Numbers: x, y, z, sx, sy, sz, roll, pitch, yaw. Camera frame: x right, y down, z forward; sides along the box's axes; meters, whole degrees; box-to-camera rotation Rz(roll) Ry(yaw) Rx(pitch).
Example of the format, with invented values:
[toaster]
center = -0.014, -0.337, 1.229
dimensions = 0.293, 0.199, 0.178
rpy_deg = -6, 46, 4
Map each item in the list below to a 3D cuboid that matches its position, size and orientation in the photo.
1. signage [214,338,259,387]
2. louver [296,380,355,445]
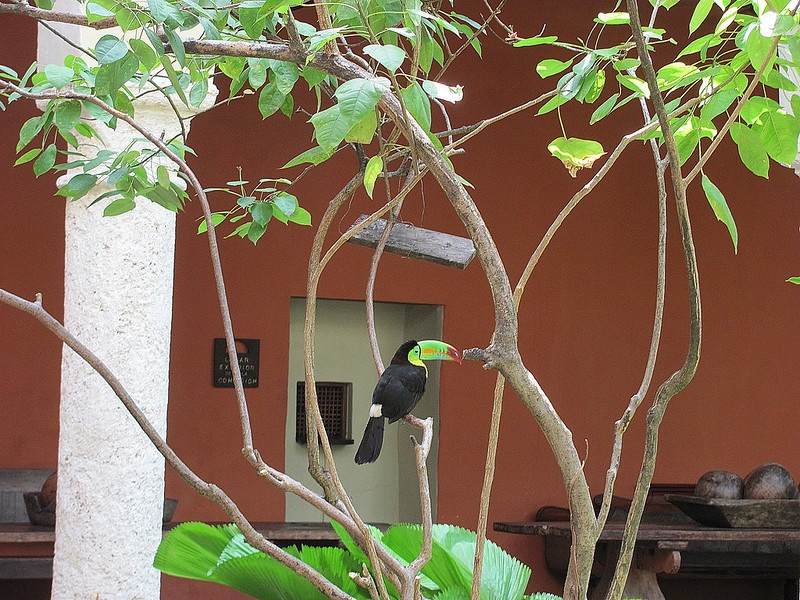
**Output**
[signage]
center = -0.740, 0.284, 4.564
dimensions = 0.258, 0.259, 0.030
rpy_deg = 1, 0, -6
[louver]
center = -0.431, 0.614, 5.752
dimensions = 0.390, 0.449, 0.179
rpy_deg = 3, 1, -31
